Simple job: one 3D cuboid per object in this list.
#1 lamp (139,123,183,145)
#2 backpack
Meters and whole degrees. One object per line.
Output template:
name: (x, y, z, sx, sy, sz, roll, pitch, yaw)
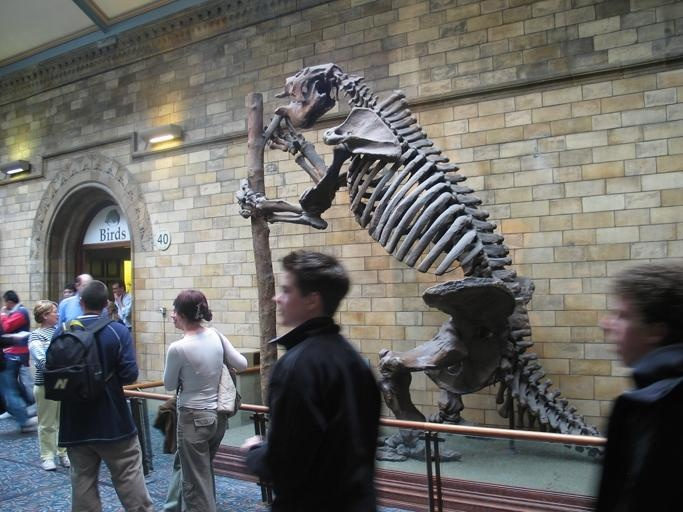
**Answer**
lamp: (-3.287, -2.194, 10.681, 0.816, 0.284, 0.296, -3, -5, 33)
backpack: (-2.026, 0.763, 4.513, 0.476, 0.513, 0.560, -3, -3, 5)
